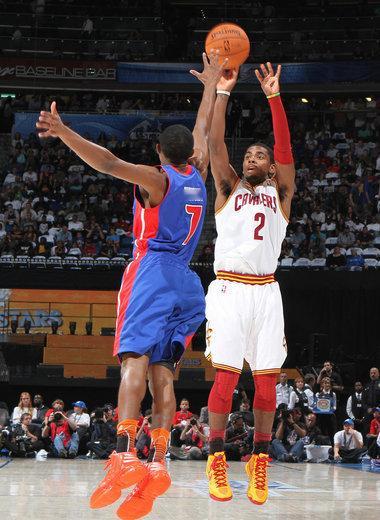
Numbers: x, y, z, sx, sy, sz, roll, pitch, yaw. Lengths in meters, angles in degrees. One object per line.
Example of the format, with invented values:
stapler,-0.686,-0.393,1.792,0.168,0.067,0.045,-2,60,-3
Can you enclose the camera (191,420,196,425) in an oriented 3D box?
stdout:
camera,0.053,2.693,12.205,0.100,0.083,0.085,14,-5,-6

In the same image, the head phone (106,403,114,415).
head phone,-1.346,2.549,12.550,0.162,0.164,0.190,2,-28,-4

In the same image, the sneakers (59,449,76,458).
sneakers,-2.014,3.164,12.022,0.288,0.161,0.250,2,-3,-14

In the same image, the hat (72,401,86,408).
hat,-1.994,2.593,13.160,0.201,0.123,0.387,2,-3,-10

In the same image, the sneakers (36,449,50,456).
sneakers,-2.482,3.221,12.263,0.179,0.099,0.242,2,-3,-13

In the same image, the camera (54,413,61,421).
camera,-2.201,2.601,12.173,0.145,0.121,0.140,-5,-5,26
